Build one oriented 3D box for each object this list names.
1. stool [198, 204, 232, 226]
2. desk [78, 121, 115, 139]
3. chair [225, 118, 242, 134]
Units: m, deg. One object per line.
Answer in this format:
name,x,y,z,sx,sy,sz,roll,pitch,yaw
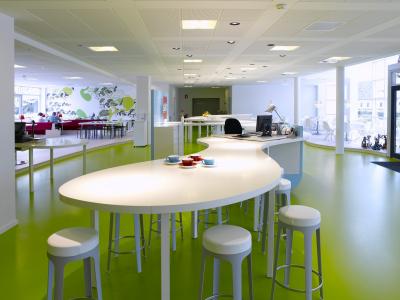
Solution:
stool,0.230,1.081,4.799,0.431,0.503,0.444,0,-2,-8
desk,-5.848,-1.086,16.853,1.587,0.851,1.672,0,4,-3
chair,0.806,-0.562,7.110,0.414,0.443,0.274,-3,8,-28
